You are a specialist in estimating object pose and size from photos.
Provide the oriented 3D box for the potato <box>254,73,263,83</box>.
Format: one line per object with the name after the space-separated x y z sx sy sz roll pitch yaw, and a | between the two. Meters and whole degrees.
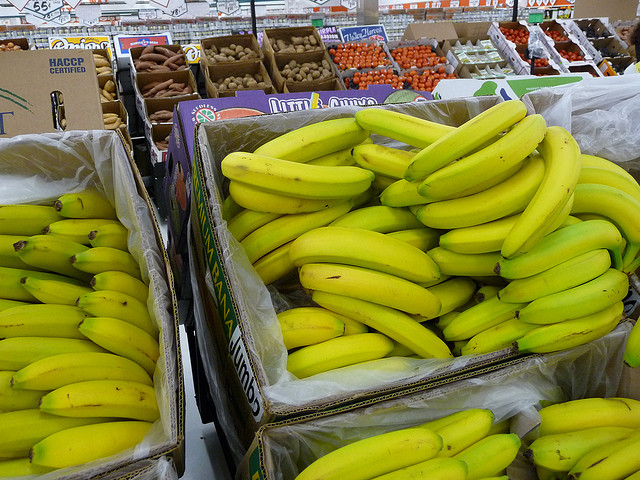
-0.506 -1.319 4.011 0.046 0.042 0.093 -2 36 -19 | potato

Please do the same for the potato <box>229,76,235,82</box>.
-0.701 -1.276 3.902 0.048 0.048 0.016 -2 7 -40 | potato

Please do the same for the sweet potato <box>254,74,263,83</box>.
-0.502 -1.315 4.009 0.044 0.040 0.089 -1 33 -19 | sweet potato

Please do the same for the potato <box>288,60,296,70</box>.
-0.226 -1.435 4.026 0.069 0.070 0.037 17 -11 -27 | potato

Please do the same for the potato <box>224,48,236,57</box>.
-0.756 -1.559 4.097 0.087 0.047 0.068 20 20 27 | potato

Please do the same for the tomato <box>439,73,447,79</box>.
1.108 -1.462 4.374 0.064 0.052 0.053 -2 41 -10 | tomato

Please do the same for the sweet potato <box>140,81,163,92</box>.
-1.401 -1.261 4.060 0.202 0.044 0.053 -19 -16 -3 | sweet potato

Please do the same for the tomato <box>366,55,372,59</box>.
0.437 -1.608 4.329 0.051 0.052 0.026 -1 -5 5 | tomato

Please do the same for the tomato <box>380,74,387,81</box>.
0.545 -1.388 4.202 0.050 0.050 0.050 -7 -9 3 | tomato

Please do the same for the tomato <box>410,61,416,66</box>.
0.861 -1.609 4.507 0.051 0.030 0.030 0 21 12 | tomato

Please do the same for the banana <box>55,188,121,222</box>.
-0.752 -0.107 1.626 0.272 0.074 0.087 7 11 -44 | banana

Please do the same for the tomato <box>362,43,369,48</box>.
0.424 -1.787 4.506 0.055 0.056 0.018 1 -4 -25 | tomato

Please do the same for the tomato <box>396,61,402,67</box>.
0.743 -1.616 4.533 0.048 0.049 0.017 -12 -8 41 | tomato

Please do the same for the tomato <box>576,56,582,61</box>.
2.570 -1.779 4.823 0.051 0.034 0.063 6 23 28 | tomato

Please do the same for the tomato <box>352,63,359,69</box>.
0.309 -1.506 4.276 0.046 0.047 0.024 -6 -13 16 | tomato

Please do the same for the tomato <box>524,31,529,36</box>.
2.121 -2.086 4.999 0.036 0.036 0.036 16 -1 -11 | tomato

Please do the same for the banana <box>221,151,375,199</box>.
-0.062 -0.157 1.475 0.473 0.156 0.124 6 16 -17 | banana

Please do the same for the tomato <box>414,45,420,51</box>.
0.935 -1.817 4.664 0.039 0.047 0.040 -1 23 11 | tomato

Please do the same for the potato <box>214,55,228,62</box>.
-0.816 -1.474 3.997 0.094 0.050 0.033 24 -12 25 | potato

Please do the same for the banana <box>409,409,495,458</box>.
0.319 0.519 1.344 0.324 0.107 0.090 -3 -11 16 | banana

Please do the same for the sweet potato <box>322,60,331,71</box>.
0.046 -1.481 4.210 0.051 0.042 0.106 -4 58 -40 | sweet potato

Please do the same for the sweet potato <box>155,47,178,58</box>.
-1.377 -1.651 4.370 0.254 0.074 0.075 19 22 15 | sweet potato

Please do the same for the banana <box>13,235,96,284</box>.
-0.777 0.061 1.509 0.310 0.106 0.082 16 21 -42 | banana

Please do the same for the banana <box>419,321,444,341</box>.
0.341 0.279 1.485 0.019 0.024 0.072 -41 69 -9 | banana

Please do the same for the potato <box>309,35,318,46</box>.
-0.054 -1.766 4.361 0.059 0.031 0.115 -5 40 2 | potato

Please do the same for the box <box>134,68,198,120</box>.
-1.298 -1.285 4.068 0.501 0.490 0.218 -4 -25 -9 | box

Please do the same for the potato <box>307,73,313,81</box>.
-0.073 -1.311 3.976 0.036 0.023 0.070 -5 61 -7 | potato

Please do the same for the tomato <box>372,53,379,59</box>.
0.505 -1.636 4.380 0.041 0.020 0.050 -10 37 -4 | tomato

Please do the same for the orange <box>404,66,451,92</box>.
0.978 -1.405 4.300 0.434 0.179 0.387 -7 21 -6 | orange

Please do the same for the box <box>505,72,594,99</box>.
1.029 -0.749 2.299 0.321 0.077 0.167 -3 52 -2 | box

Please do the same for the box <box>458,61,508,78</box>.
1.518 -1.584 4.558 0.234 0.107 0.609 13 28 40 | box

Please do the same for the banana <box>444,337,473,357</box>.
0.427 0.331 1.515 0.055 0.069 0.039 6 10 7 | banana

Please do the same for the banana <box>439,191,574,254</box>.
0.502 -0.016 1.407 0.340 0.090 0.112 -12 -18 11 | banana

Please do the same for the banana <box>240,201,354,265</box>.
-0.084 -0.050 1.540 0.357 0.123 0.075 -2 20 -6 | banana

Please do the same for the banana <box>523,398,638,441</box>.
0.752 0.520 1.404 0.275 0.076 0.091 -6 -12 -3 | banana

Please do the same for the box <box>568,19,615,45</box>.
2.906 -2.204 5.235 0.358 0.113 0.347 5 50 -13 | box

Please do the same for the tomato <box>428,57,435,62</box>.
1.030 -1.652 4.509 0.054 0.032 0.064 3 22 22 | tomato

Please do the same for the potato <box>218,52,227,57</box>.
-0.829 -1.535 4.074 0.034 0.023 0.042 19 22 -4 | potato

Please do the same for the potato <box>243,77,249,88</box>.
-0.594 -1.233 3.892 0.059 0.080 0.045 -9 -9 30 | potato

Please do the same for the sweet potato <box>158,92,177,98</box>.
-1.244 -1.176 3.990 0.102 0.025 0.062 -14 3 0 | sweet potato

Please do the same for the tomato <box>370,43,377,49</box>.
0.505 -1.787 4.522 0.053 0.065 0.055 -13 27 16 | tomato

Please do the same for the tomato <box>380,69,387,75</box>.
0.558 -1.439 4.218 0.044 0.045 0.045 -3 -26 3 | tomato

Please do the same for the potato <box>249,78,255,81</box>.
-0.548 -1.269 3.897 0.035 0.013 0.035 19 47 -18 | potato
